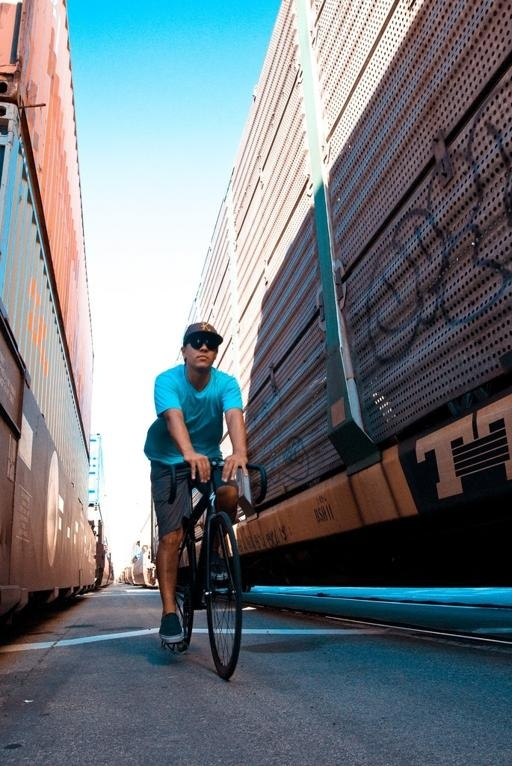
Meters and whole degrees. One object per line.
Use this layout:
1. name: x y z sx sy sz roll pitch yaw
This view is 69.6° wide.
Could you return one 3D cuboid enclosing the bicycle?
1. bicycle: -0.256 0.875 1.763 0.256 0.948 1.040 1 -18 -26
